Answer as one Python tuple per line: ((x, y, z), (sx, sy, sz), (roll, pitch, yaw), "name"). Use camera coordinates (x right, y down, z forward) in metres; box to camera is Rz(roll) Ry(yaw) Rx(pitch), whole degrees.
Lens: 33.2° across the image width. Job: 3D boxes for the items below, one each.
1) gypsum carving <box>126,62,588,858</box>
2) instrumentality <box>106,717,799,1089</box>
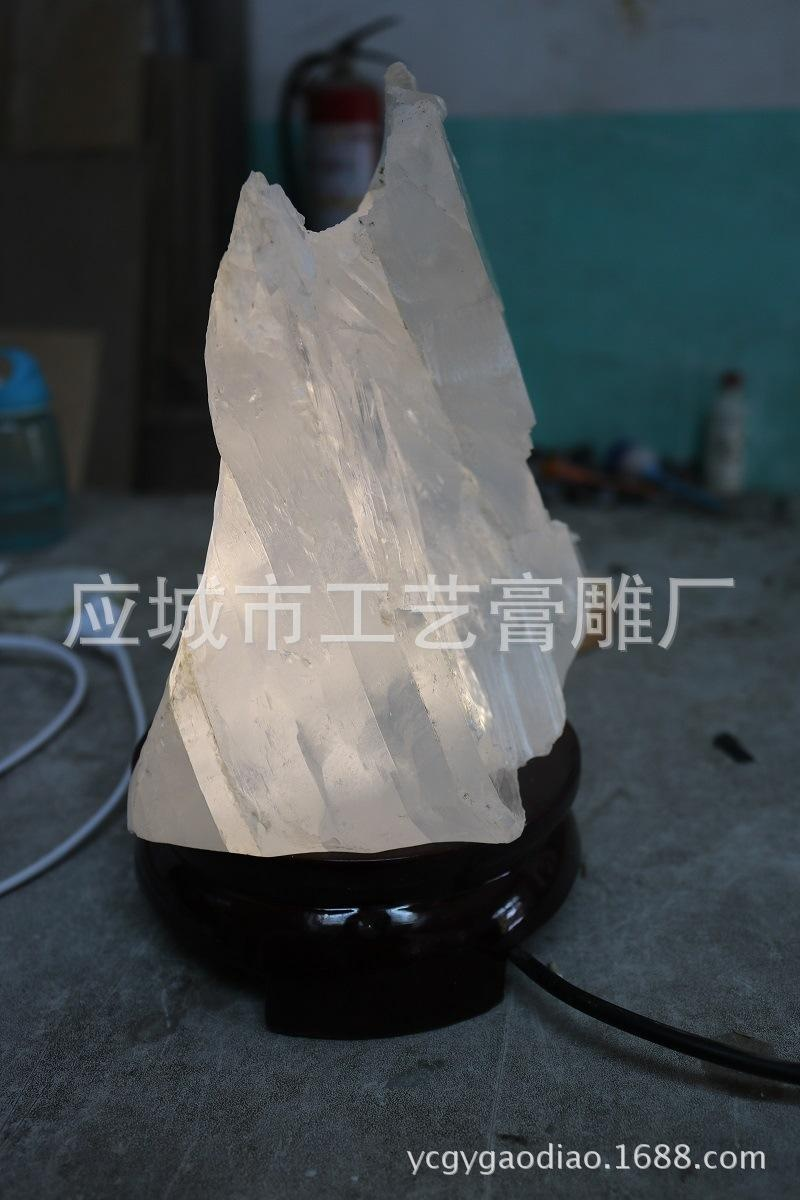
((-0.025, -0.059, 0.499), (0.165, 0.274, 0.132), (-4, 23, 8), "gypsum carving")
((-0.021, 0.088, 0.505), (0.178, 0.045, 0.127), (9, 18, 33), "instrumentality")
